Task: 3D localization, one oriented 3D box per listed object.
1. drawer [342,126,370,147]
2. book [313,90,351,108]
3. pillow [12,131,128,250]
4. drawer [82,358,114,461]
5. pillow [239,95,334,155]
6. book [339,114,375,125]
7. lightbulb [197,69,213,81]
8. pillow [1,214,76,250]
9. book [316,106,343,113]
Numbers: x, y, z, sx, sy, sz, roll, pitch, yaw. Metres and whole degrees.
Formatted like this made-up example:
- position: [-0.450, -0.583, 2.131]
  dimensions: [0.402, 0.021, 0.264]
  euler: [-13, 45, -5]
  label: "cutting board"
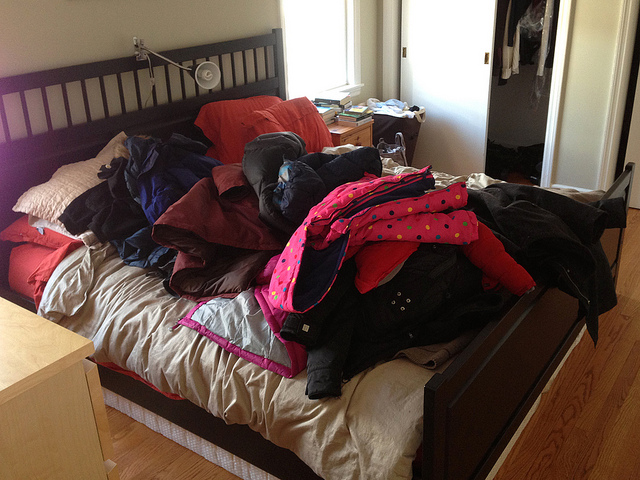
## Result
- position: [0.306, -0.817, 3.839]
  dimensions: [0.086, 0.145, 0.391]
  euler: [8, 25, 31]
  label: "drawer"
- position: [0.100, -1.190, 3.977]
  dimensions: [0.201, 0.062, 0.214]
  euler: [15, 33, 28]
  label: "book"
- position: [-1.357, -0.317, 2.576]
  dimensions: [0.447, 0.151, 0.674]
  euler: [4, 42, 4]
  label: "pillow"
- position: [-0.655, 0.502, 1.400]
  dimensions: [0.046, 0.364, 0.069]
  euler: [-16, 22, -29]
  label: "drawer"
- position: [-0.340, -0.902, 3.380]
  dimensions: [0.564, 0.204, 0.635]
  euler: [-29, 27, -18]
  label: "pillow"
- position: [0.332, -0.993, 3.898]
  dimensions: [0.143, 0.037, 0.138]
  euler: [21, 33, 35]
  label: "book"
- position: [-0.708, -1.014, 2.896]
  dimensions: [0.057, 0.063, 0.055]
  euler: [-12, 23, -30]
  label: "lightbulb"
- position: [-1.482, -0.023, 2.468]
  dimensions: [0.253, 0.077, 0.244]
  euler: [19, 33, 12]
  label: "pillow"
- position: [0.069, -1.078, 3.892]
  dimensions: [0.141, 0.037, 0.149]
  euler: [10, 21, 30]
  label: "book"
